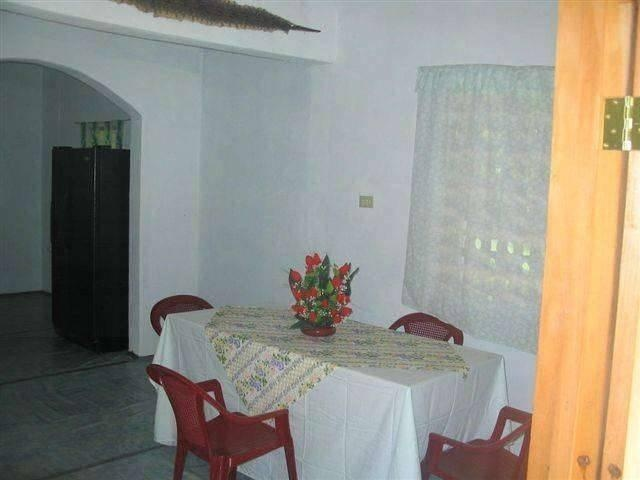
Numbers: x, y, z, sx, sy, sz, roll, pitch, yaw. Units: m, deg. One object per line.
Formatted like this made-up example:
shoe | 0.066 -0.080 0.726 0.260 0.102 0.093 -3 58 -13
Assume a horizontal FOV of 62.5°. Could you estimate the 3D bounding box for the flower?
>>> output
flower | 0.024 0.335 3.258 0.461 0.485 0.449 2 2 -35
